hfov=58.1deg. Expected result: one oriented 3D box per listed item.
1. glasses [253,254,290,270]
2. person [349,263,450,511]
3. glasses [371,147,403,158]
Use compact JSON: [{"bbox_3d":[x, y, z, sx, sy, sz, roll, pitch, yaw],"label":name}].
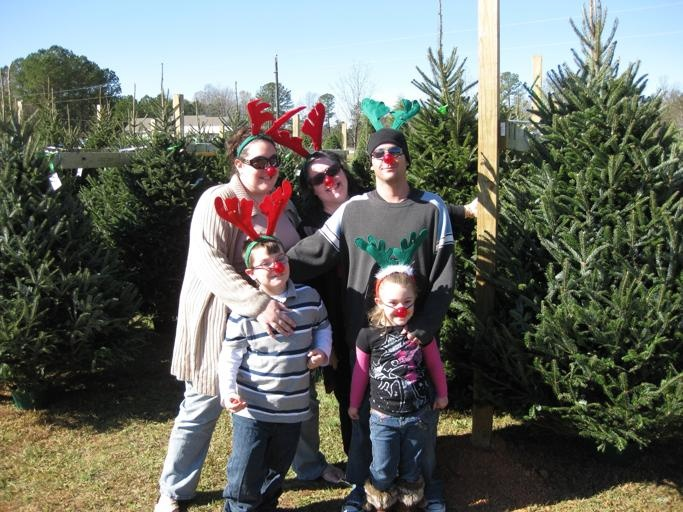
[{"bbox_3d":[-0.479,0.056,4.150,0.229,0.097,0.087,-3,8,-11],"label":"glasses"},{"bbox_3d":[0.394,0.947,4.271,0.681,1.779,0.266,-2,8,0],"label":"person"},{"bbox_3d":[0.324,-0.723,4.324,0.203,0.077,0.093,-1,8,3],"label":"glasses"}]
